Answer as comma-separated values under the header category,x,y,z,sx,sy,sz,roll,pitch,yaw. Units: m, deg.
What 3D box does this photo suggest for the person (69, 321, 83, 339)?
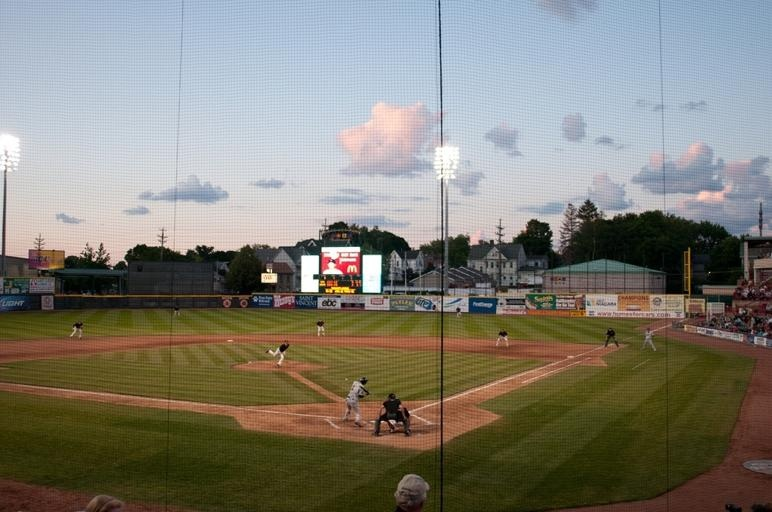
category,x,y,z,sx,sy,sz,roll,pitch,yaw
person,-16.726,3.983,50.333,0.601,0.878,2.474,1,-2,-20

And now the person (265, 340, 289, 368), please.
category,x,y,z,sx,sy,sz,roll,pitch,yaw
person,-5.049,4.520,44.283,0.820,1.107,3.498,0,-2,-9
